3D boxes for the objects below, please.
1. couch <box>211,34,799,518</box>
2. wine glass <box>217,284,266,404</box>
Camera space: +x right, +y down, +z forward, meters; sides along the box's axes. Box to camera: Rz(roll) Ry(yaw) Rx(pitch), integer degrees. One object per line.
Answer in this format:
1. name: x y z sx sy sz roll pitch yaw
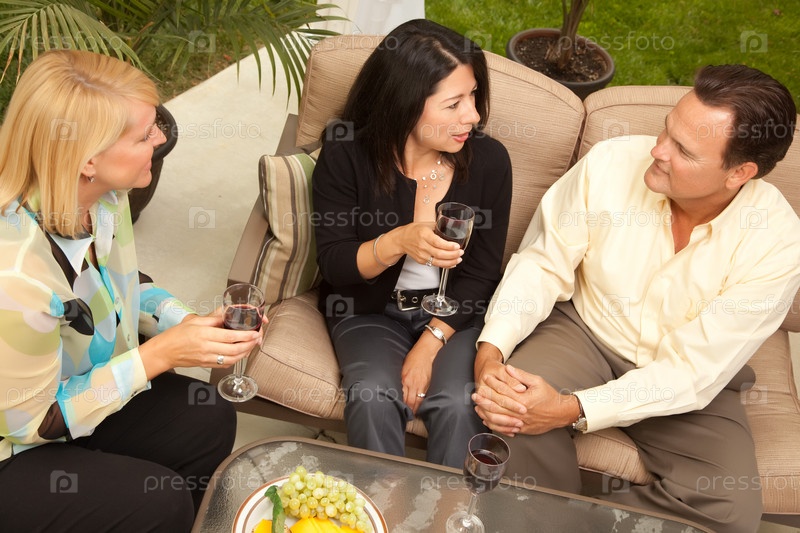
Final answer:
1. couch: 0.400 0.083 2.026 2.134 0.991 1.149 12 71 0
2. wine glass: -0.493 0.249 1.761 0.159 0.380 0.167 6 50 -16
